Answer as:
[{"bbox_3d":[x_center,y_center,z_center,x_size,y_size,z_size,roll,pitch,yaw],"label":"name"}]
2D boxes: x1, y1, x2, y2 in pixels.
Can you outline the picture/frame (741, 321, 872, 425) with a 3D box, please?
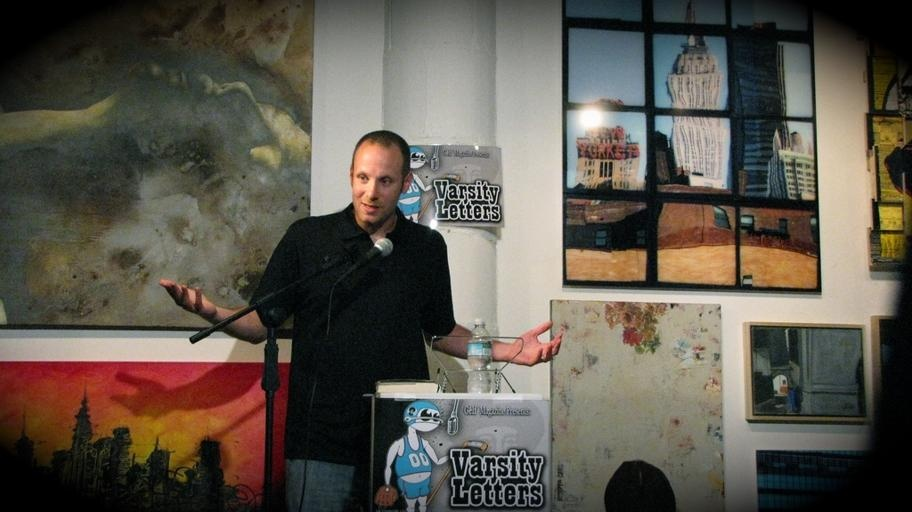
[{"bbox_3d":[2.417,0.838,6.255,0.776,0.582,0.054,2,-9,-11],"label":"picture/frame"}]
